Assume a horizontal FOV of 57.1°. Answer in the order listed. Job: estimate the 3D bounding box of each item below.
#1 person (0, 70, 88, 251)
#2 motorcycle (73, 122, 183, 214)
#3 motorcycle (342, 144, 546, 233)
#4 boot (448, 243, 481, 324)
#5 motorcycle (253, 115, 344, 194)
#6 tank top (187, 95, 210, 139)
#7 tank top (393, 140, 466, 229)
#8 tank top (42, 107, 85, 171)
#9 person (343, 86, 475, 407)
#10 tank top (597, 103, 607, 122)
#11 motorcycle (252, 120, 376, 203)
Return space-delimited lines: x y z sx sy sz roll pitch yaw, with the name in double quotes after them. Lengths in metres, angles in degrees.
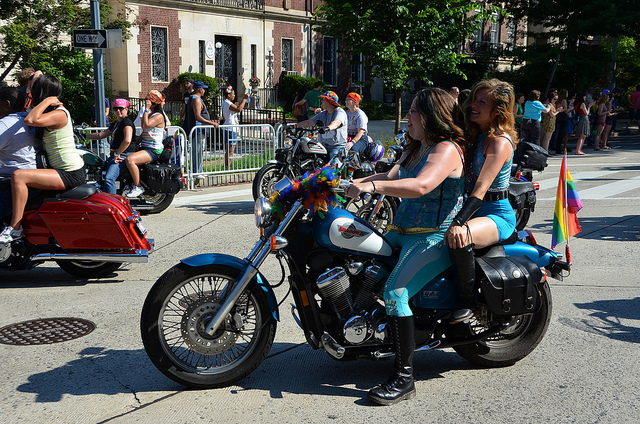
-3.541 -0.654 7.518 1.023 2.178 0.572 -4 14 -23 "person"
-3.834 -0.856 11.363 2.311 1.557 1.461 4 5 -2 "motorcycle"
1.904 -0.273 9.001 2.668 1.895 1.527 0 5 -12 "motorcycle"
1.315 0.664 5.391 0.333 0.783 0.215 4 13 10 "boot"
-0.067 -1.009 10.696 1.916 1.276 1.173 -2 16 -29 "motorcycle"
-2.933 -2.348 14.138 0.495 0.954 2.035 -1 13 -12 "tank top"
1.080 -0.247 5.808 0.623 1.118 0.801 6 -9 -13 "tank top"
-3.313 -0.879 7.559 0.444 0.636 0.331 -5 14 -27 "tank top"
0.831 0.293 5.471 0.686 2.848 1.094 9 14 30 "person"
9.847 -3.495 20.555 0.304 0.613 0.210 -3 13 -19 "tank top"
0.016 -0.998 10.886 2.635 1.647 1.256 -5 13 -27 "motorcycle"
